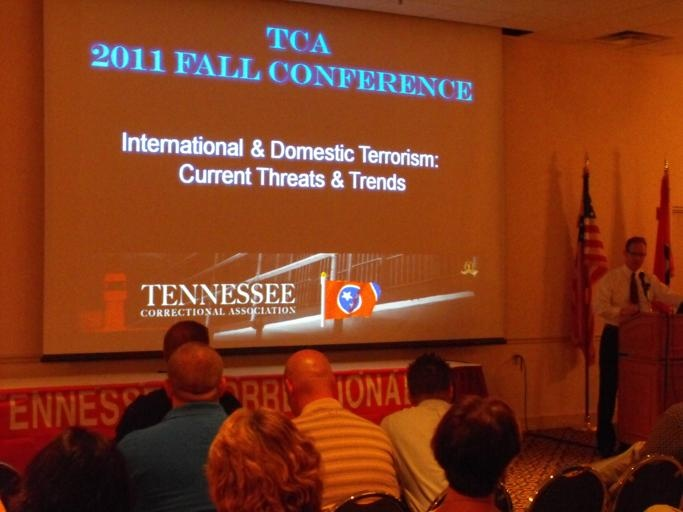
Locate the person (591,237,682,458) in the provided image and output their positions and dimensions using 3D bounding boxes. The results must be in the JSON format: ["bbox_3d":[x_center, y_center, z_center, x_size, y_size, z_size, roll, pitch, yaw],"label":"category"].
[{"bbox_3d":[2.731,0.828,6.200,0.948,1.999,0.419,-2,-2,-33],"label":"person"}]
